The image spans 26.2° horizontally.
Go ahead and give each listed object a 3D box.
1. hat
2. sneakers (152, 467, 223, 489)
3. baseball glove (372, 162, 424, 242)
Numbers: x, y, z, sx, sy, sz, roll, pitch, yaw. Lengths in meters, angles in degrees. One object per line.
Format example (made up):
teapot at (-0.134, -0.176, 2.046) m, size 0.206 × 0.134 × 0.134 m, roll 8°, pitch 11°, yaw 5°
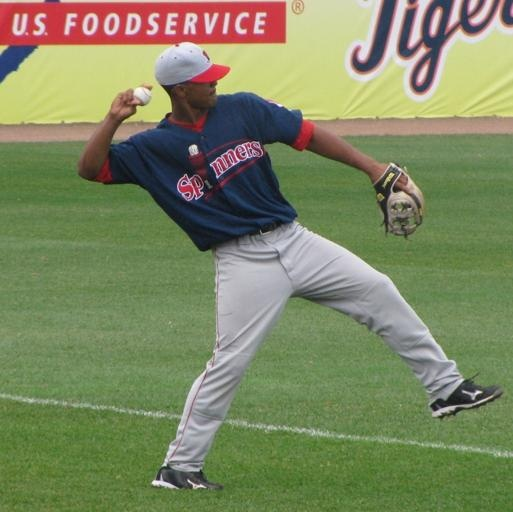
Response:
hat at (-0.358, -1.039, 6.074) m, size 0.372 × 0.176 × 0.226 m, roll -9°, pitch 19°, yaw 7°
sneakers at (-0.408, 1.236, 6.130) m, size 0.434 × 0.164 × 0.140 m, roll 3°, pitch -3°, yaw -4°
baseball glove at (0.795, -0.292, 6.385) m, size 0.316 × 0.395 × 0.192 m, roll -10°, pitch 0°, yaw -10°
